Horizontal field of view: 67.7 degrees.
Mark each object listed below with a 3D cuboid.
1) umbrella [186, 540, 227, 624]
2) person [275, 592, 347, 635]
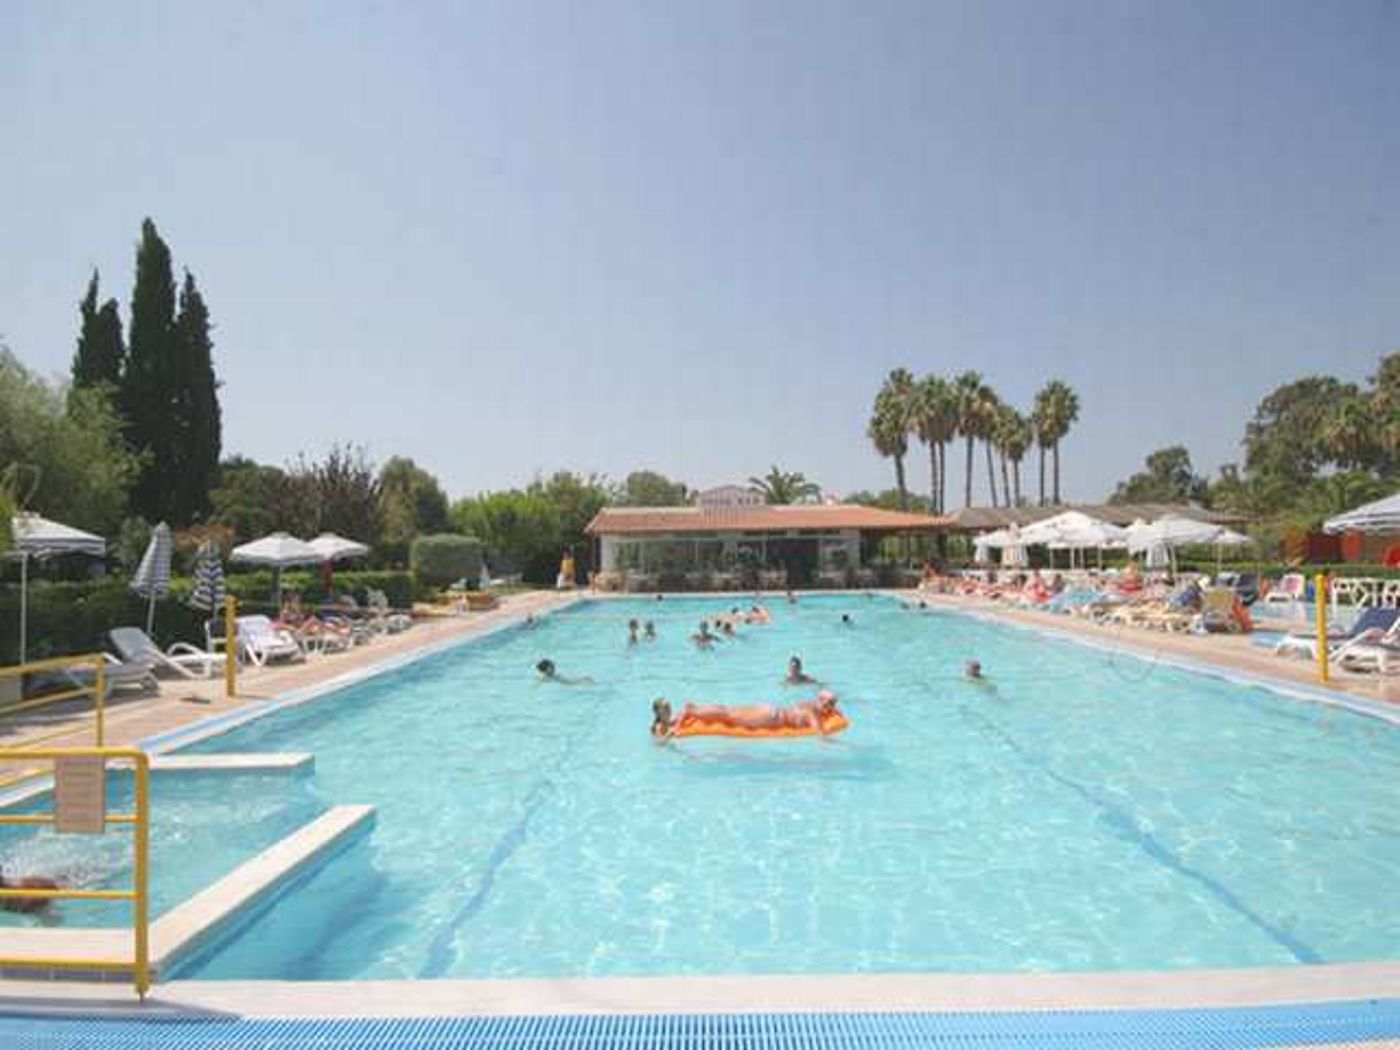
[{"bbox_3d":[-9.451,1.055,20.057,0.615,1.450,1.999,0,-3,-26],"label":"umbrella"},{"bbox_3d":[-8.998,2.110,23.890,1.333,0.526,0.968,6,1,8],"label":"person"}]
